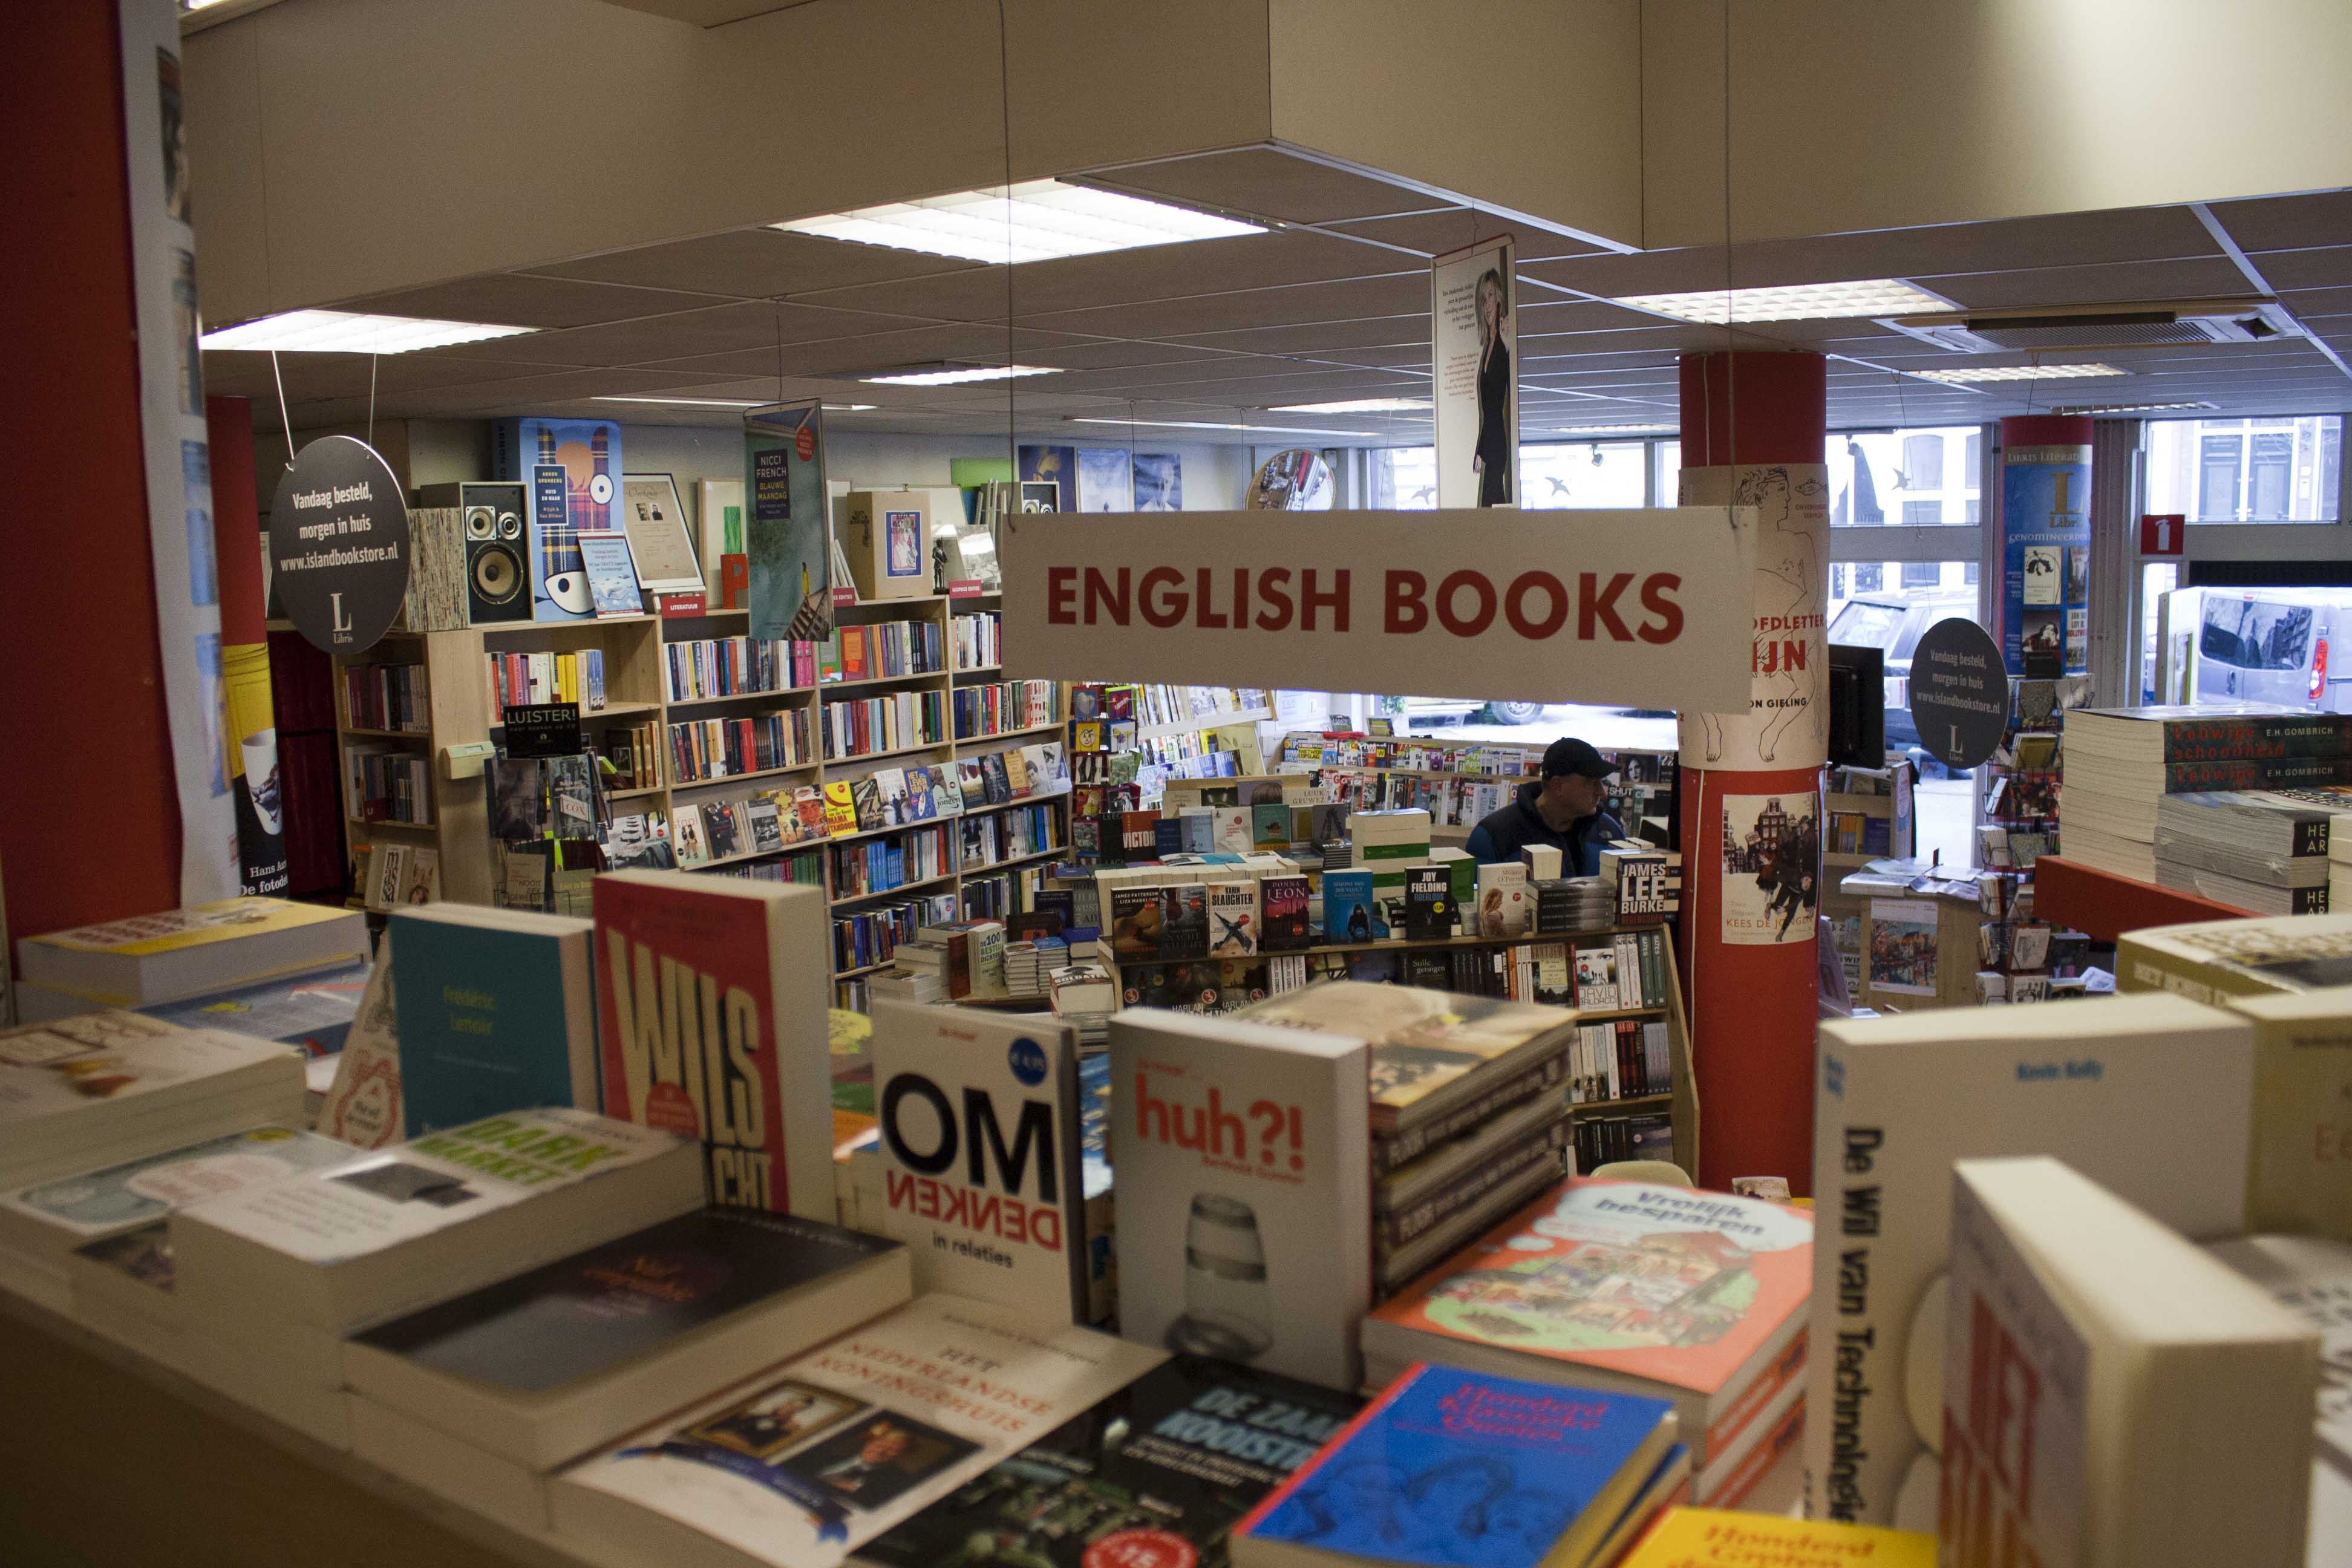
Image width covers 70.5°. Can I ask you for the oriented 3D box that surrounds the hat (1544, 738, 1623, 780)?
[{"bbox_3d":[1.888,-0.122,7.776,0.261,0.146,0.194,1,13,0],"label":"hat"}]

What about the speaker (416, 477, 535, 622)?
[{"bbox_3d":[-3.588,-1.229,8.998,0.395,0.681,0.477,-3,-4,2],"label":"speaker"}]

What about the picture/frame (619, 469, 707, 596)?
[{"bbox_3d":[-3.102,-1.504,9.999,0.050,0.700,0.622,-9,25,29],"label":"picture/frame"}]
